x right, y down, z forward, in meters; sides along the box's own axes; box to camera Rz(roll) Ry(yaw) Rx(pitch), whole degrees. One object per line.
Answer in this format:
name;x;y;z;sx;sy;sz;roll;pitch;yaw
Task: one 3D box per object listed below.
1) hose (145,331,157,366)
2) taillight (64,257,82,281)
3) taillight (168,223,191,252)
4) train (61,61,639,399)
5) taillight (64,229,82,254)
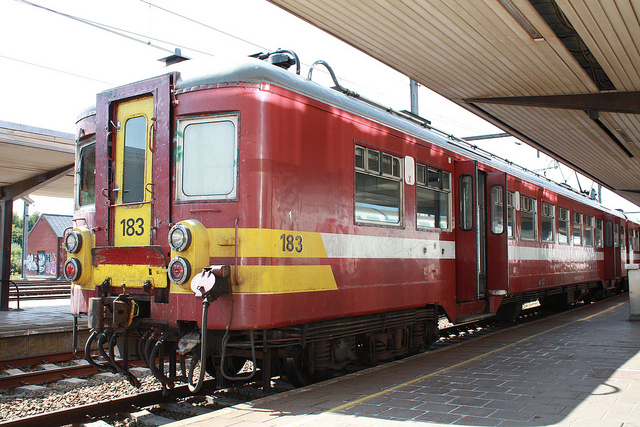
hose;-2.537;2.017;7.418;0.083;0.346;0.255;4;-36;-5
taillight;-4.027;0.907;8.014;0.317;0.343;0.075;-16;-11;40
taillight;-2.017;0.354;7.109;0.352;0.371;0.103;7;3;38
train;4.260;0.591;16.068;5.580;6.249;22.805;-6;-8;39
taillight;-4.033;0.462;8.048;0.279;0.295;0.084;-30;-20;28
